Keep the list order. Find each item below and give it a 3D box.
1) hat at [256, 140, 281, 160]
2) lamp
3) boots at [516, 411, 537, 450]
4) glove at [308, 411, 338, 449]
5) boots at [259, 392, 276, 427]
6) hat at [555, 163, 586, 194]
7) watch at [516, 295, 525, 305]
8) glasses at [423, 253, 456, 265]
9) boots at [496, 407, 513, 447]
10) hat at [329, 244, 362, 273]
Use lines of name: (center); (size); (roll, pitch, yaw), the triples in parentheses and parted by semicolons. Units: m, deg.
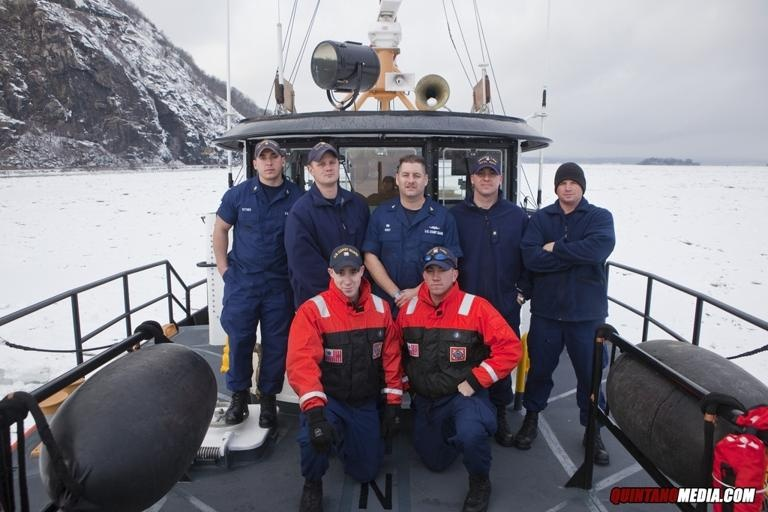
hat: (-1.062, -0.982, 4.955); (0.211, 0.171, 0.361); (-1, -5, -1)
lamp: (-0.416, -1.951, 5.803); (0.486, 0.701, 0.628); (17, 20, 39)
boots: (1.326, 1.581, 4.914); (0.134, 0.260, 0.394); (7, 9, 32)
glove: (-0.479, 1.329, 4.109); (0.208, 0.303, 0.142); (-2, 11, -10)
boots: (-1.081, 1.443, 4.943); (0.109, 0.154, 0.340); (0, 0, -3)
hat: (1.622, -0.677, 4.656); (0.242, 0.251, 0.219); (3, 11, 15)
watch: (1.251, 0.401, 4.909); (0.054, 0.075, 0.068); (-4, 50, 12)
glasses: (0.464, 0.028, 4.410); (0.262, 0.112, 0.122); (-1, 11, -5)
boots: (1.116, 1.548, 5.000); (0.137, 0.273, 0.412); (-6, 9, 4)
hat: (-0.312, 0.022, 4.410); (0.249, 0.175, 0.249); (12, 16, 44)
